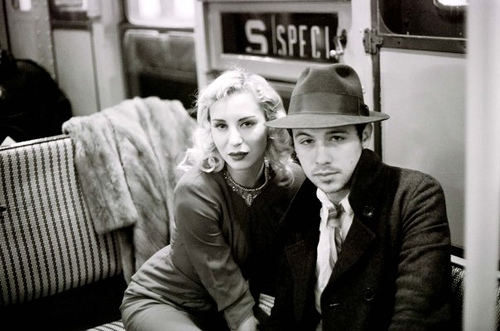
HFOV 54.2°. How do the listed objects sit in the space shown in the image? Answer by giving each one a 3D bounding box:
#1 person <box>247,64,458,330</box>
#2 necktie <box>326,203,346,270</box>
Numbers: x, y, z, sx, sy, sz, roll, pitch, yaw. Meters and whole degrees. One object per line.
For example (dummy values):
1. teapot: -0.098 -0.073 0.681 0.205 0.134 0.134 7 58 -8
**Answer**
1. person: 0.332 0.149 1.840 0.879 1.032 0.359 9 15 38
2. necktie: 0.318 0.266 1.848 0.068 0.237 0.063 1 12 8
